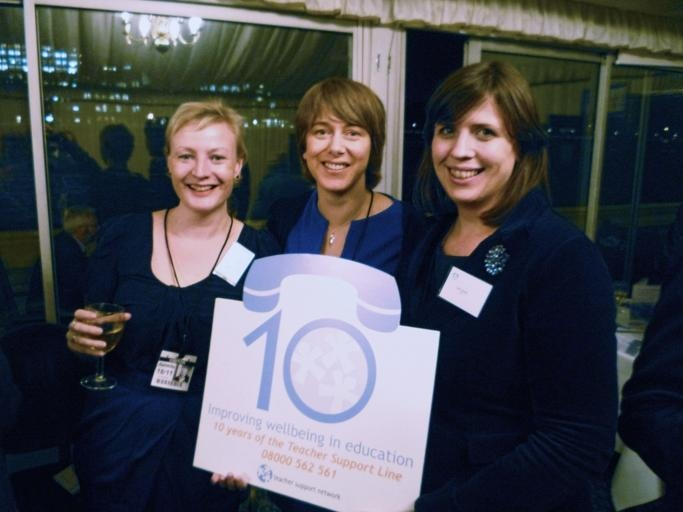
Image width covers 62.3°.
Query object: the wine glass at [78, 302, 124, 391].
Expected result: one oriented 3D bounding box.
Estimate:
[{"bbox_3d":[-1.042,0.391,2.441,0.164,0.395,0.319,-6,13,-37],"label":"wine glass"}]
